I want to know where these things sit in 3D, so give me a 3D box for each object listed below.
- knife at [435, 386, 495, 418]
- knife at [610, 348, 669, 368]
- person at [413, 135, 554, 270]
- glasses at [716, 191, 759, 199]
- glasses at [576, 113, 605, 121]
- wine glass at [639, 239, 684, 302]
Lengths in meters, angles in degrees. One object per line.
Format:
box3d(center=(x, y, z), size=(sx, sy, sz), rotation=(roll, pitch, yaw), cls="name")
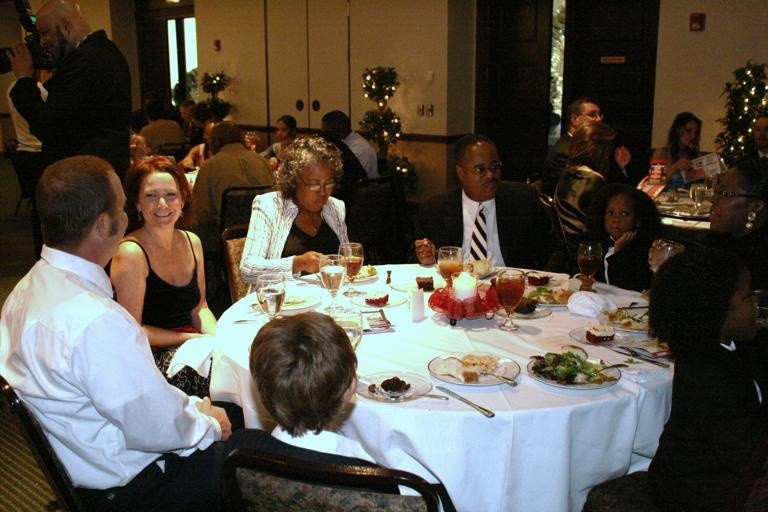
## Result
box3d(center=(0.270, 0.489, 1.972), size=(0.024, 0.010, 0.179), rotation=(-40, 37, -17), cls="knife")
box3d(center=(0.952, 0.368, 2.203), size=(0.056, 0.012, 0.208), rotation=(-28, 24, -34), cls="knife")
box3d(center=(0.604, -0.315, 3.627), size=(0.863, 0.811, 0.459), rotation=(-2, 14, 1), cls="person")
box3d(center=(1.823, -0.318, 3.059), size=(0.165, 0.033, 0.034), rotation=(7, 19, 28), cls="glasses")
box3d(center=(1.948, -1.287, 5.447), size=(0.175, 0.076, 0.332), rotation=(14, 23, 43), cls="glasses")
box3d(center=(1.190, 0.032, 2.624), size=(0.110, 0.189, 0.180), rotation=(16, 8, 22), cls="wine glass")
